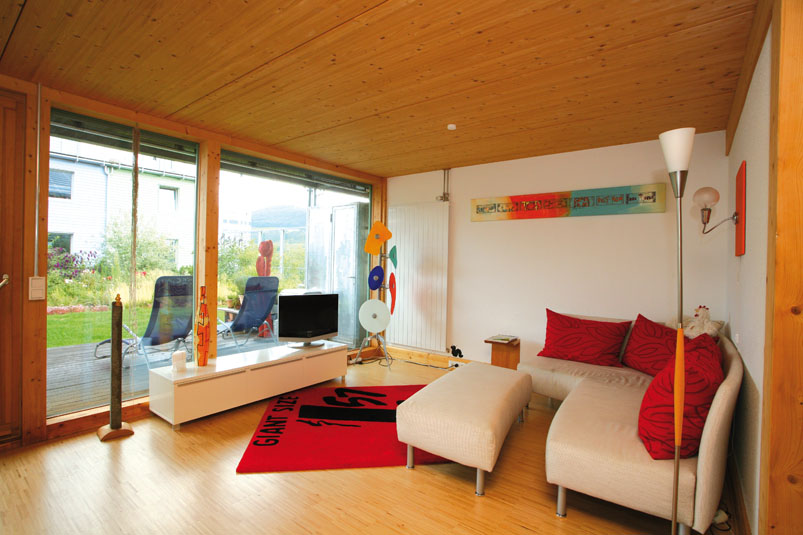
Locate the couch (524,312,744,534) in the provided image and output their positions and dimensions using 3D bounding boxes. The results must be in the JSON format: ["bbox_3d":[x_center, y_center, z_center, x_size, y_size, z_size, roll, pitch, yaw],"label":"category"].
[{"bbox_3d":[1.814,0.794,4.301,1.442,0.861,2.211,2,4,33],"label":"couch"}]

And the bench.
[{"bbox_3d":[0.476,1.177,4.665,0.810,0.495,1.323,2,6,28],"label":"bench"}]

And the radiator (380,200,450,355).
[{"bbox_3d":[0.239,0.079,7.615,1.010,2.122,0.126,2,2,37],"label":"radiator"}]
